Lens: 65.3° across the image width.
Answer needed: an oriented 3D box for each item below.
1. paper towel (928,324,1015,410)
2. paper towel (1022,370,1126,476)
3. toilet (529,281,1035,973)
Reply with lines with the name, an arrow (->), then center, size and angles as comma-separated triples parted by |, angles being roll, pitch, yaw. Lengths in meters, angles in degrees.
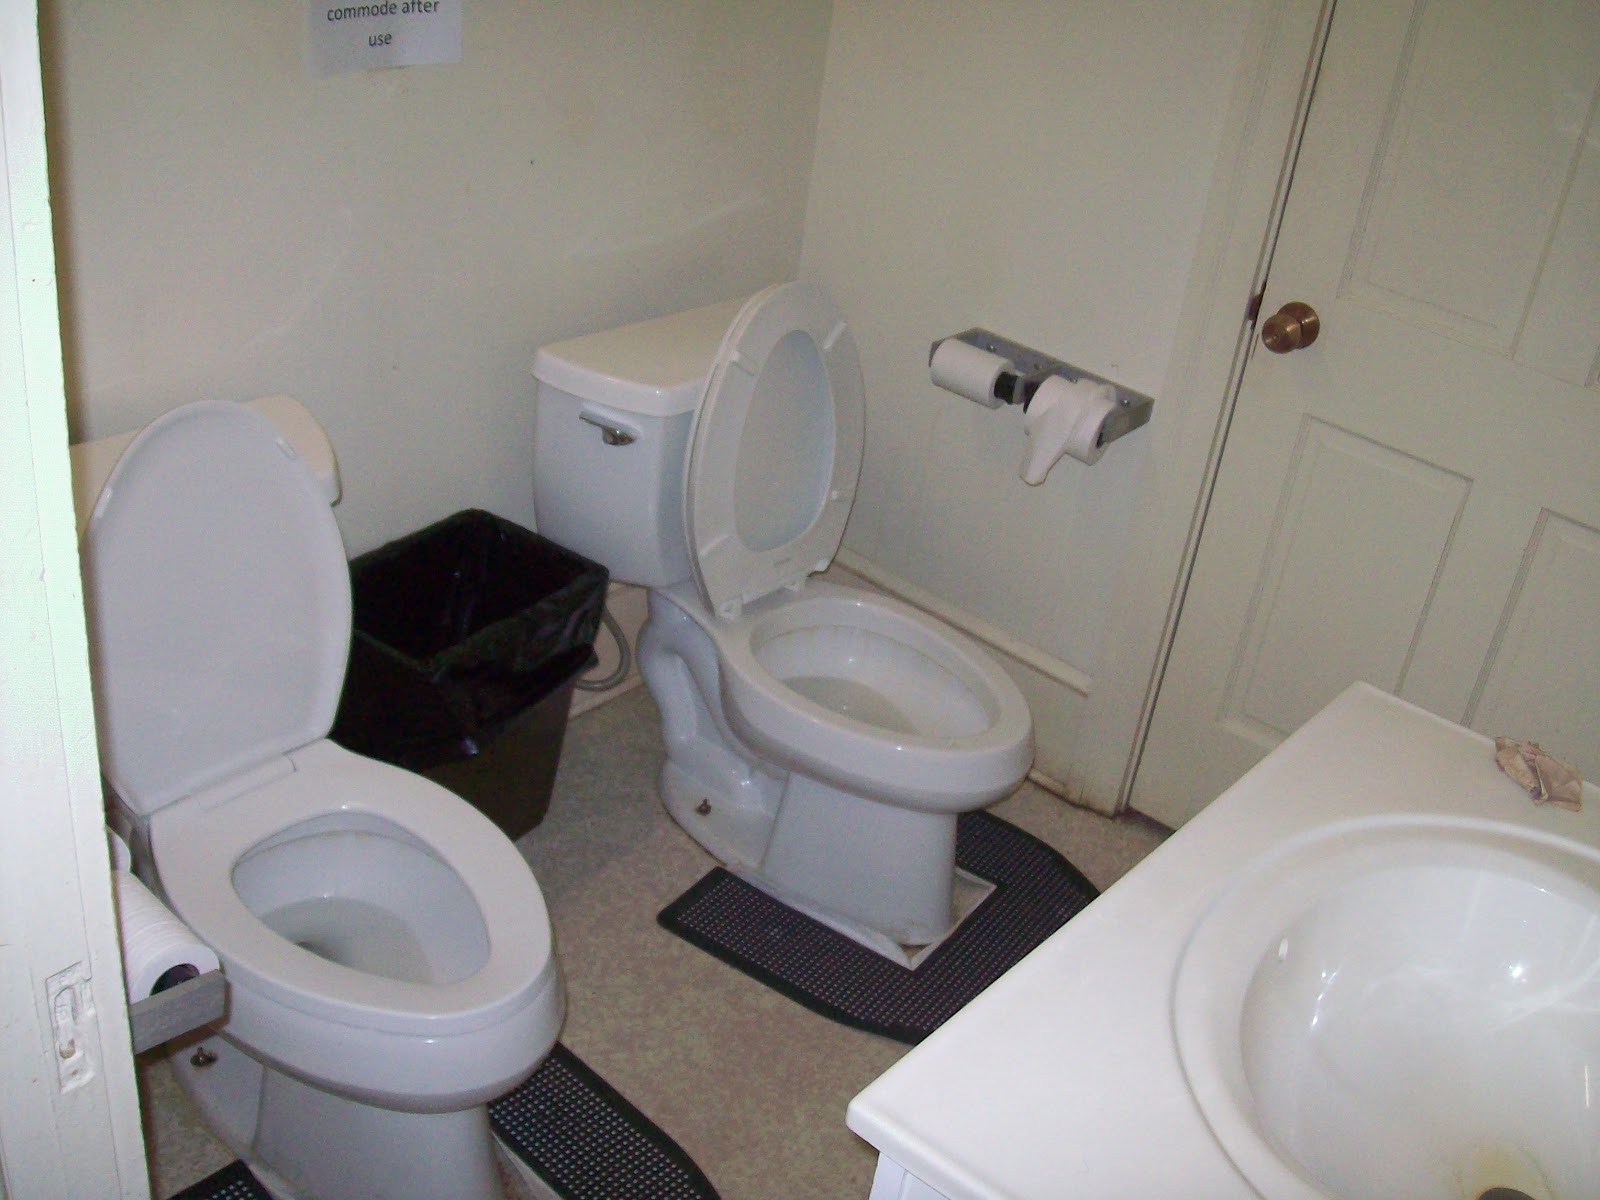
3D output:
paper towel -> 0.312, -0.443, 2.259 | 0.156, 0.100, 0.117 | 29, 80, 25
paper towel -> 0.460, -0.295, 2.122 | 0.129, 0.094, 0.261 | 22, 56, 28
toilet -> -0.040, 0.056, 2.170 | 0.837, 1.021, 0.521 | 30, 45, 34
